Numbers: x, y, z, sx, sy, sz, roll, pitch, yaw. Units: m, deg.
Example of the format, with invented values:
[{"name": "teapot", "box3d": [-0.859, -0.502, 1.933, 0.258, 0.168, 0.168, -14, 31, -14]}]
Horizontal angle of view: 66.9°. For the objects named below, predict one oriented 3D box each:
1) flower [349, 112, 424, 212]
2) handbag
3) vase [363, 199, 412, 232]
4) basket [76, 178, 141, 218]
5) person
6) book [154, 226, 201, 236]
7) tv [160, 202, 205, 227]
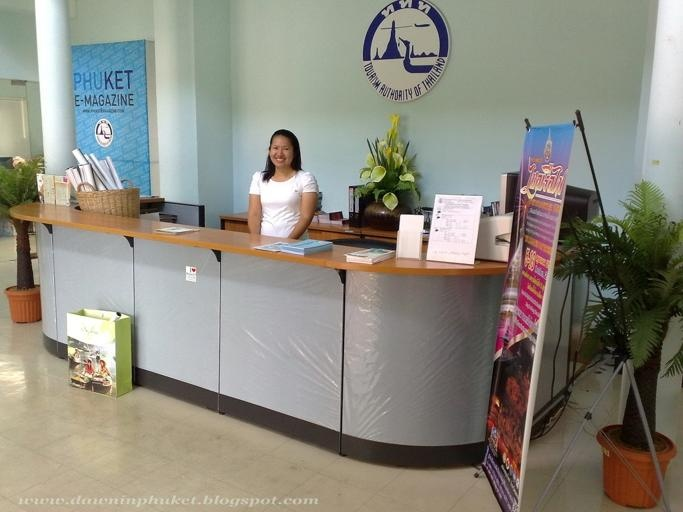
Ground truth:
[{"name": "flower", "box3d": [0.514, -1.007, 5.507, 0.660, 0.968, 0.602, 6, 14, 17]}, {"name": "handbag", "box3d": [-1.840, 0.763, 3.976, 0.530, 0.651, 0.202, 7, 12, 22]}, {"name": "vase", "box3d": [0.443, -0.409, 5.096, 0.413, 0.251, 0.432, 2, 3, 3]}, {"name": "basket", "box3d": [-2.088, -0.511, 4.652, 0.376, 0.292, 0.339, 2, 5, 27]}, {"name": "person", "box3d": [-0.513, -0.634, 4.503, 0.606, 0.913, 0.405, 8, 15, 26]}, {"name": "book", "box3d": [-1.214, -0.193, 3.853, 0.305, 0.035, 0.378, -2, 15, -15]}, {"name": "tv", "box3d": [-2.040, -0.526, 6.482, 0.614, 0.269, 0.340, 6, 15, 17]}]
